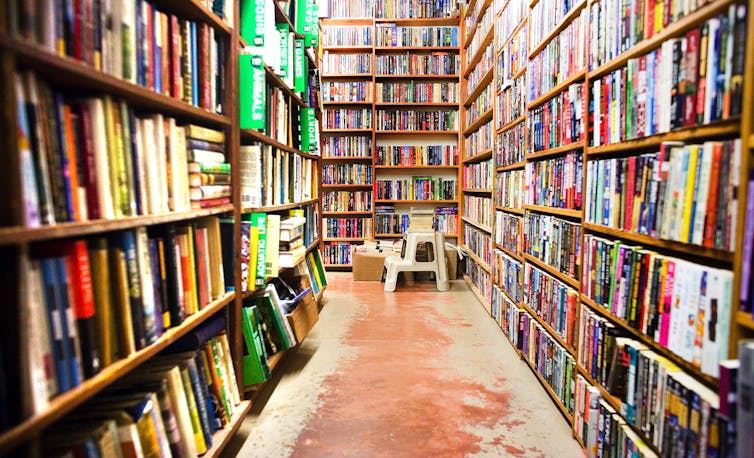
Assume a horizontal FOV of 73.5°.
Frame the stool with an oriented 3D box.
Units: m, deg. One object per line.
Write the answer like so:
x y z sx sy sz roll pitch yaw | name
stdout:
0.337 0.268 4.663 0.585 0.465 0.573 1 1 0 | stool
